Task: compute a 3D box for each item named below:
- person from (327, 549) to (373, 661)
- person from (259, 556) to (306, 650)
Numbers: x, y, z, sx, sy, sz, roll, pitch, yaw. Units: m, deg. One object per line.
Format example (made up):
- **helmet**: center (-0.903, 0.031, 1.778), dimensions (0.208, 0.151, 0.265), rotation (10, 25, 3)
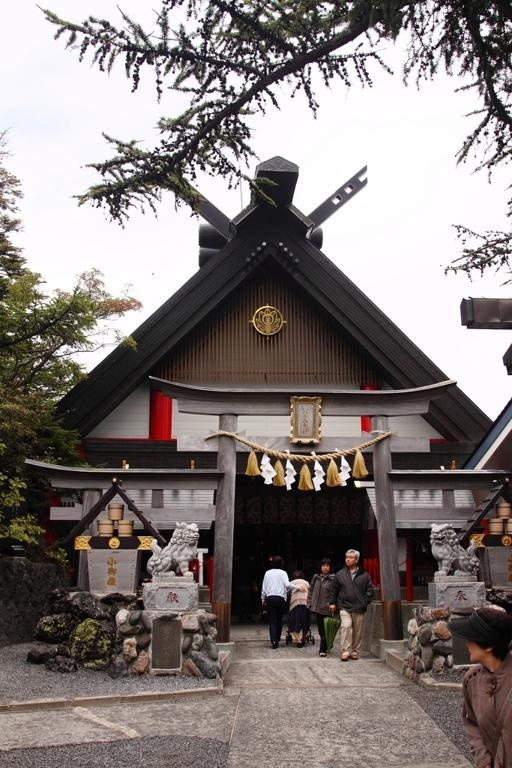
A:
- **person**: center (1.241, 2.839, 9.025), dimensions (0.538, 1.370, 0.667), rotation (-1, -14, 8)
- **person**: center (0.355, 3.365, 10.906), dimensions (0.489, 1.330, 1.253), rotation (1, -13, 1)
